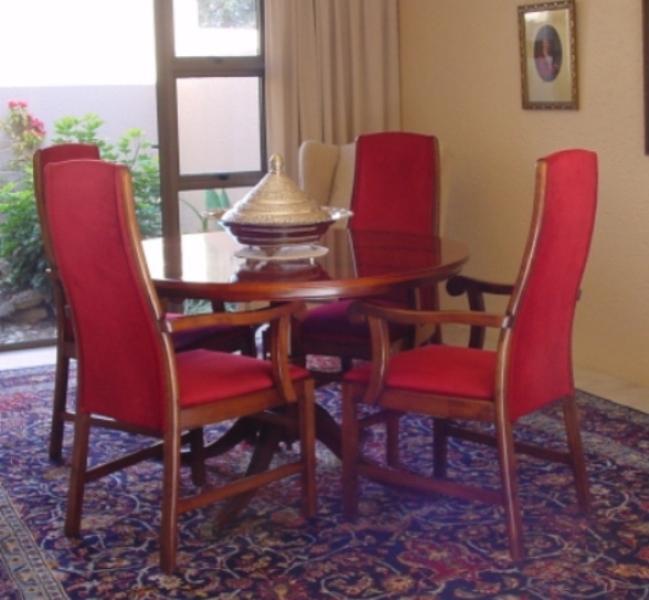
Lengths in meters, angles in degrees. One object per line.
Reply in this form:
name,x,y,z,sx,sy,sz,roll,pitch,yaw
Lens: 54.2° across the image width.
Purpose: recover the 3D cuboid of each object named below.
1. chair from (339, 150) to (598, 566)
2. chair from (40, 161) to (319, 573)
chair,0.417,0.129,1.903,0.636,1.109,0.486,5,13,34
chair,-0.414,0.160,1.890,0.647,1.128,0.473,-10,14,-39
